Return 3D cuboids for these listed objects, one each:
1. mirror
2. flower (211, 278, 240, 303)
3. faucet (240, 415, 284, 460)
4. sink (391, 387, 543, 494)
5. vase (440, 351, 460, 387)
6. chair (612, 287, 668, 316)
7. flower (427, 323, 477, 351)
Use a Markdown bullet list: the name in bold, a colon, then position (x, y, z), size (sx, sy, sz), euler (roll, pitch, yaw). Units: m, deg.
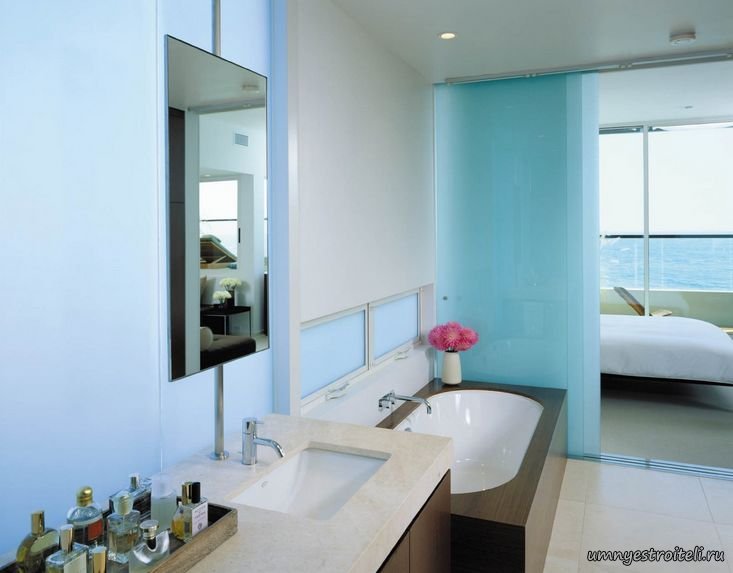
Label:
- **mirror**: position (-0.524, -0.267, 1.940), size (0.074, 1.089, 0.544), euler (1, 7, 30)
- **flower**: position (-0.504, 0.015, 1.965), size (0.068, 0.084, 0.076), euler (0, -1, 23)
- **faucet**: position (-0.370, 0.538, 1.930), size (0.145, 0.156, 0.112), euler (-5, 7, -11)
- **sink**: position (0.770, 1.027, 3.807), size (0.676, 0.404, 1.063), euler (-1, 10, 19)
- **vase**: position (0.616, 0.623, 4.180), size (0.202, 0.310, 0.198), euler (1, 7, 5)
- **chair**: position (2.285, 0.125, 4.593), size (0.439, 0.247, 0.109), euler (0, 7, 26)
- **flower**: position (0.639, 0.386, 4.170), size (0.361, 0.214, 0.303), euler (-3, 7, 7)
